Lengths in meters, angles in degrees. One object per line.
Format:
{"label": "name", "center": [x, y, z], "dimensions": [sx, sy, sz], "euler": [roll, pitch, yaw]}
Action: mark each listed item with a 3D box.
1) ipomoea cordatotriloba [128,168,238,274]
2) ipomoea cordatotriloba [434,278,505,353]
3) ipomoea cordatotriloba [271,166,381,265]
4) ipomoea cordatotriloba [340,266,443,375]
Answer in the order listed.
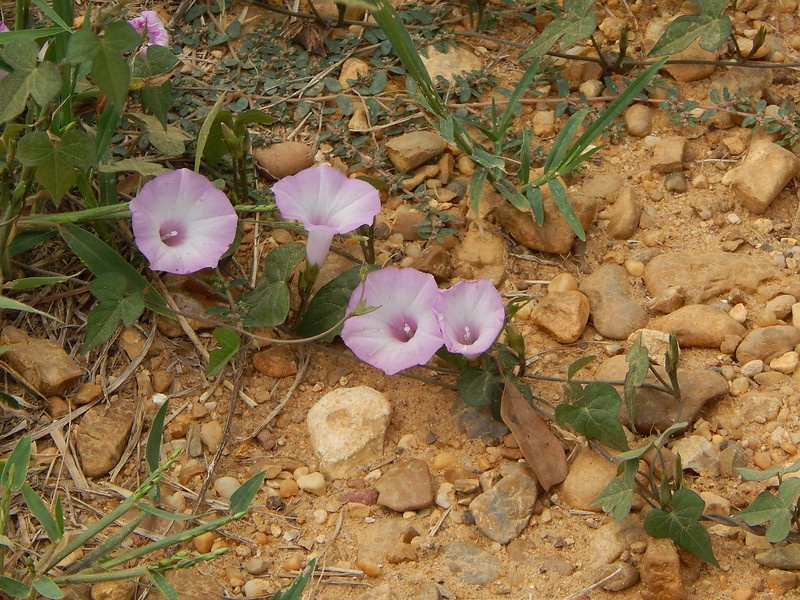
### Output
{"label": "ipomoea cordatotriloba", "center": [-0.642, -0.233, 2.178], "dimensions": [0.284, 0.161, 0.317], "euler": [-23, 84, -29]}
{"label": "ipomoea cordatotriloba", "center": [0.188, 0.081, 2.226], "dimensions": [0.188, 0.194, 0.219], "euler": [13, 68, 6]}
{"label": "ipomoea cordatotriloba", "center": [-0.236, -0.208, 2.249], "dimensions": [0.356, 0.279, 0.368], "euler": [-1, 28, -11]}
{"label": "ipomoea cordatotriloba", "center": [-0.027, 0.073, 2.233], "dimensions": [0.294, 0.137, 0.323], "euler": [-7, 66, 3]}
